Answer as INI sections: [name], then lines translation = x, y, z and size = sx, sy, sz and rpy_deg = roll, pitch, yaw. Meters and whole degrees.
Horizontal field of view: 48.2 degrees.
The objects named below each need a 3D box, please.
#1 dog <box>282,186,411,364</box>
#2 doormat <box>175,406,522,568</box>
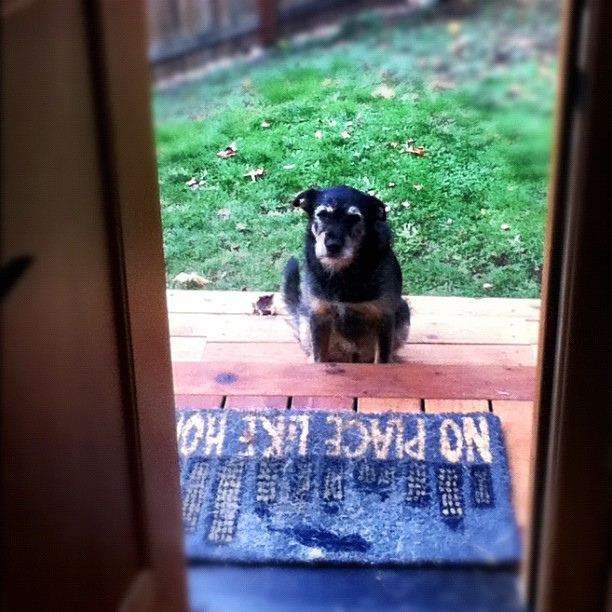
[dog]
translation = 0.192, -0.166, 3.354
size = 0.696, 0.738, 0.909
rpy_deg = -1, 31, 7
[doormat]
translation = 0.112, 0.618, 2.465
size = 1.250, 0.138, 0.809
rpy_deg = -3, 24, 6
